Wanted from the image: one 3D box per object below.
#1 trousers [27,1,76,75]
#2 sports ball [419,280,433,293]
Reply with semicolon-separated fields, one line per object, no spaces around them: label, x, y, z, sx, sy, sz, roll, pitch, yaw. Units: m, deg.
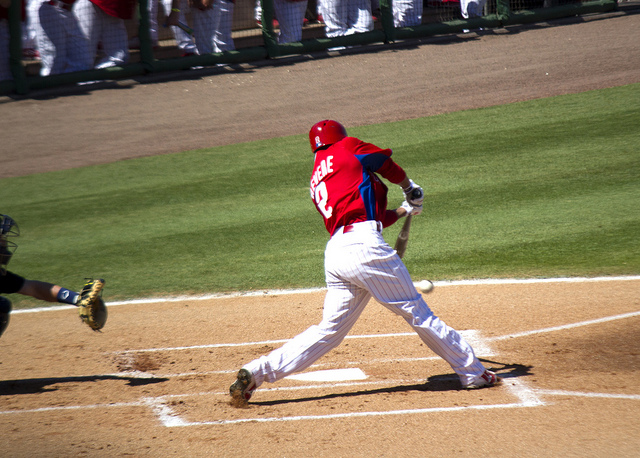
trousers;-4.388;-3.130;17.708;0.766;1.199;0.307;-20;27;-41
sports ball;1.139;0.628;11.366;0.174;0.112;0.138;5;2;26
